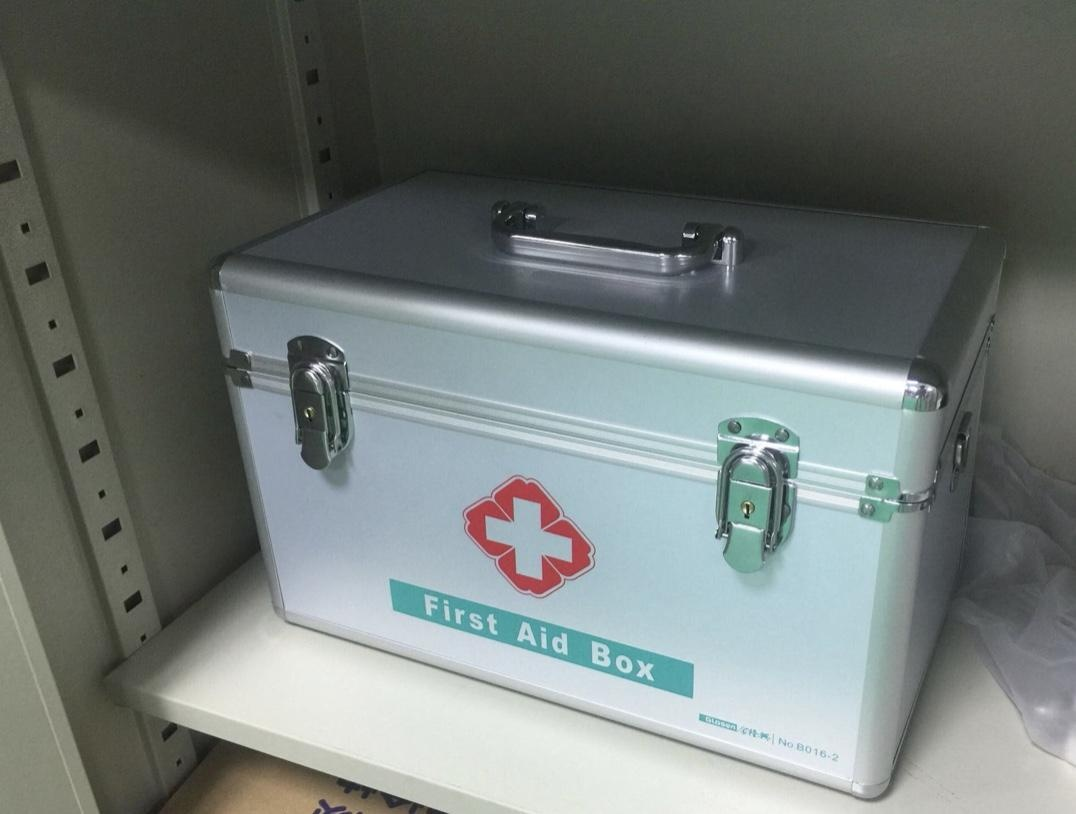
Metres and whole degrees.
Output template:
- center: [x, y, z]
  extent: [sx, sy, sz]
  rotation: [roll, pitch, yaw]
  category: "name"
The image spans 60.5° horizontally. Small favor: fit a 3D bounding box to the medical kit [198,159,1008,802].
- center: [0.074, 0.058, 0.708]
  extent: [0.555, 0.429, 0.405]
  rotation: [12, 27, 25]
  category: "medical kit"
